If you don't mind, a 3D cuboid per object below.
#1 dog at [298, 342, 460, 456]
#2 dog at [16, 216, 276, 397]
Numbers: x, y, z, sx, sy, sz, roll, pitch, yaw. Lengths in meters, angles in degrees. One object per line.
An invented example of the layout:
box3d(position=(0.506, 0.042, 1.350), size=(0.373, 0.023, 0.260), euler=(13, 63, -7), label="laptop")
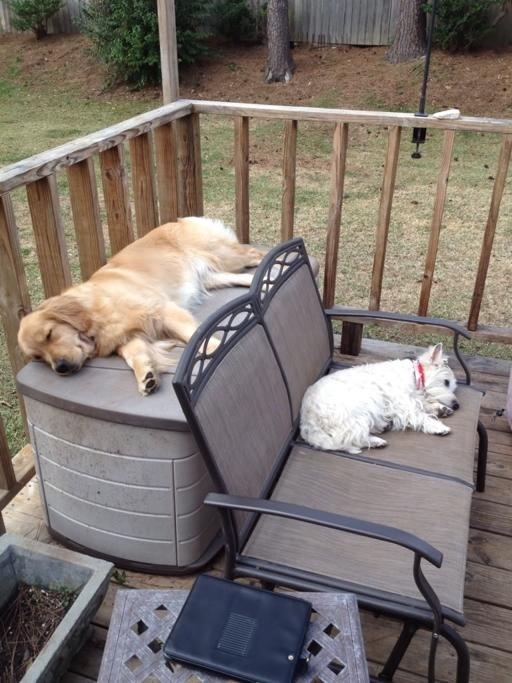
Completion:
box3d(position=(0.484, 0.227, 2.260), size=(0.647, 0.337, 0.398), euler=(-9, 7, -8), label="dog")
box3d(position=(-0.377, -0.112, 2.333), size=(0.675, 0.300, 0.893), euler=(-4, 35, 35), label="dog")
